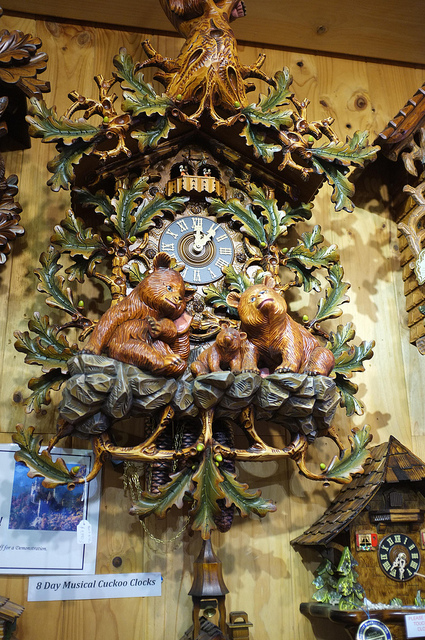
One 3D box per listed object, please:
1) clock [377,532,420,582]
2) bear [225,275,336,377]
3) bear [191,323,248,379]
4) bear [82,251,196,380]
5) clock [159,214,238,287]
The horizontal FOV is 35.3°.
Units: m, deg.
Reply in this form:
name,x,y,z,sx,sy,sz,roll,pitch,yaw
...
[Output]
name,x,y,z,sx,sy,sz,roll,pitch,yaw
clock,0.396,0.514,1.440,0.113,0.110,0.021,2,-20,-5
bear,0.140,0.031,1.507,0.226,0.210,0.264,-10,-17,34
bear,0.017,0.074,1.436,0.115,0.113,0.157,7,-15,-19
bear,-0.153,-0.014,1.417,0.212,0.282,0.126,-1,-19,0
clock,-0.035,-0.169,1.566,0.185,0.165,0.042,0,-10,-13
